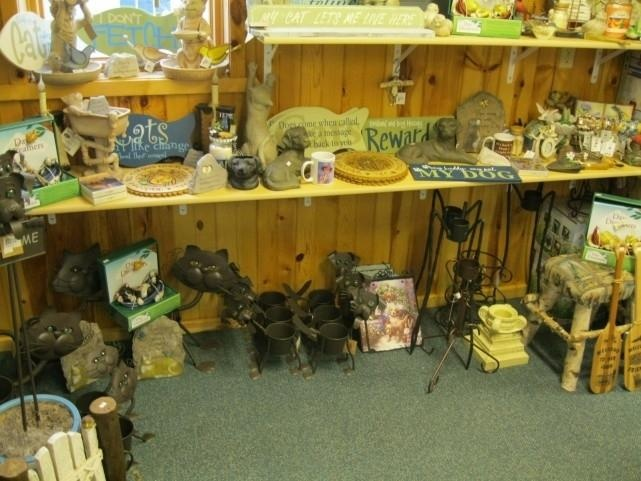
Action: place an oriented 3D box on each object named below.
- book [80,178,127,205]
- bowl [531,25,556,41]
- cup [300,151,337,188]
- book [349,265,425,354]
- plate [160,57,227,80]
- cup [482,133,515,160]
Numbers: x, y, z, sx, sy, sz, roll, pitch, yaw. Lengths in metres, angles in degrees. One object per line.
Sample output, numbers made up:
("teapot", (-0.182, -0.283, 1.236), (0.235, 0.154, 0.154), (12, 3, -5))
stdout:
("book", (-0.962, -0.225, 2.227), (0.167, 0.085, 0.133), (-17, 27, -34))
("bowl", (1.110, -1.040, 2.486), (0.112, 0.065, 0.060), (-4, 22, -7))
("cup", (0.003, -0.363, 2.511), (0.202, 0.132, 0.122), (-24, 44, -36))
("book", (0.366, 0.417, 2.895), (0.516, 0.566, 0.060), (-2, 1, -11))
("plate", (-0.633, -0.825, 2.411), (0.278, 0.105, 0.123), (1, 22, 5))
("cup", (0.977, -0.537, 2.843), (0.190, 0.136, 0.122), (1, 22, 4))
